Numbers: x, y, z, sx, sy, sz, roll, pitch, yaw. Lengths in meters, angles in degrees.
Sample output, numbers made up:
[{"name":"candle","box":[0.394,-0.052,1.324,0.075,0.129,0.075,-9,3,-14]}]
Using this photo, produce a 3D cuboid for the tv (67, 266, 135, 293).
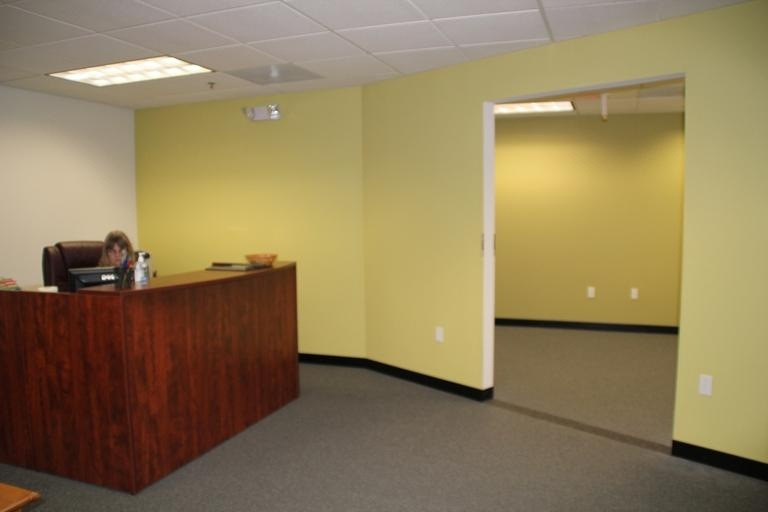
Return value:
[{"name":"tv","box":[-2.383,0.155,4.812,0.433,0.235,0.380,-1,3,-25]}]

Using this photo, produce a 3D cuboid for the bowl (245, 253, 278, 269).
[{"name":"bowl","box":[-1.217,0.031,5.796,0.226,0.081,0.226,-1,1,0]}]

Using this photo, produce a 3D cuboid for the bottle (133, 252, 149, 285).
[{"name":"bottle","box":[-2.015,0.086,4.769,0.120,0.247,0.291,-7,15,-23]}]
